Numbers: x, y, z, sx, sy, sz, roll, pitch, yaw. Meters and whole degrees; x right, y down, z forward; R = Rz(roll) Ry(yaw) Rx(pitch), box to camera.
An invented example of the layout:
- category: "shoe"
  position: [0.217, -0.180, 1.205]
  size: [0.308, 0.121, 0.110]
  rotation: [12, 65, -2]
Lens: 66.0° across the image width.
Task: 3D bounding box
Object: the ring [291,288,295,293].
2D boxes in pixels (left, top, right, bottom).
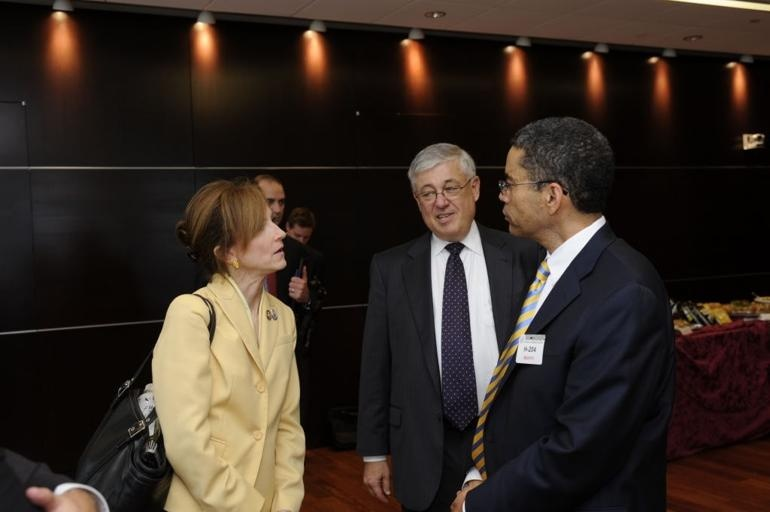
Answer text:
- category: "ring"
  position: [-0.780, 0.294, 4.991]
  size: [0.022, 0.030, 0.009]
  rotation: [6, -29, 1]

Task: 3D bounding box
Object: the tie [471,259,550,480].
- category: "tie"
  position: [0.533, 0.510, 2.505]
  size: [0.103, 1.017, 0.104]
  rotation: [27, 23, 28]
